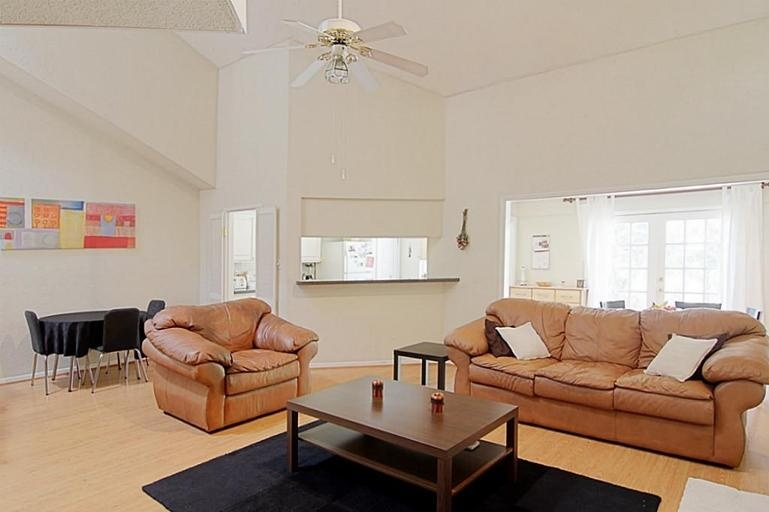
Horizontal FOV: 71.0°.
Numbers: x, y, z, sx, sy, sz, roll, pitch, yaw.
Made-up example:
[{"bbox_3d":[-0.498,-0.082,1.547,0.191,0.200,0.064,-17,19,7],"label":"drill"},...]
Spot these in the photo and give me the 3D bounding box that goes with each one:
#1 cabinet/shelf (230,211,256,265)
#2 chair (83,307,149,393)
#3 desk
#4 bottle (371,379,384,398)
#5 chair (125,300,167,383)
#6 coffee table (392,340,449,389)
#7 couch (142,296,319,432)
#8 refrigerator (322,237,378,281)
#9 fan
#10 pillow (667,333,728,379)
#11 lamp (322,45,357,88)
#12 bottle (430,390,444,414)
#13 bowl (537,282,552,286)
[{"bbox_3d":[-2.300,-0.337,8.747,0.365,0.755,1.571,-1,-2,-12],"label":"cabinet/shelf"},{"bbox_3d":[-3.217,1.112,6.571,0.633,0.924,0.622,-2,-1,-30],"label":"chair"},{"bbox_3d":[-3.681,1.138,6.949,0.978,0.942,1.229,3,0,35],"label":"desk"},{"bbox_3d":[-0.072,1.298,5.278,0.138,0.150,0.134,-3,-3,29],"label":"bottle"},{"bbox_3d":[-3.209,1.210,7.503,0.653,1.047,0.646,12,-11,-33],"label":"chair"},{"bbox_3d":[0.515,1.291,6.587,0.586,0.594,0.594,2,4,38],"label":"coffee table"},{"bbox_3d":[-1.790,1.164,6.339,1.384,1.168,1.775,5,5,37],"label":"couch"},{"bbox_3d":[-0.567,0.078,9.650,1.199,0.683,0.855,-5,-5,27],"label":"refrigerator"},{"bbox_3d":[-0.288,-1.875,4.978,1.194,0.664,0.713,-1,-2,0],"label":"fan"},{"bbox_3d":[3.300,1.005,5.476,0.604,0.510,0.265,-1,-1,-2],"label":"pillow"},{"bbox_3d":[-0.396,-1.756,4.990,0.294,0.284,0.244,-1,-1,-4],"label":"lamp"},{"bbox_3d":[0.479,1.341,4.974,0.136,0.145,0.141,0,-7,-6],"label":"bottle"},{"bbox_3d":[2.979,0.516,9.981,0.255,0.072,0.130,-2,-2,16],"label":"bowl"}]
